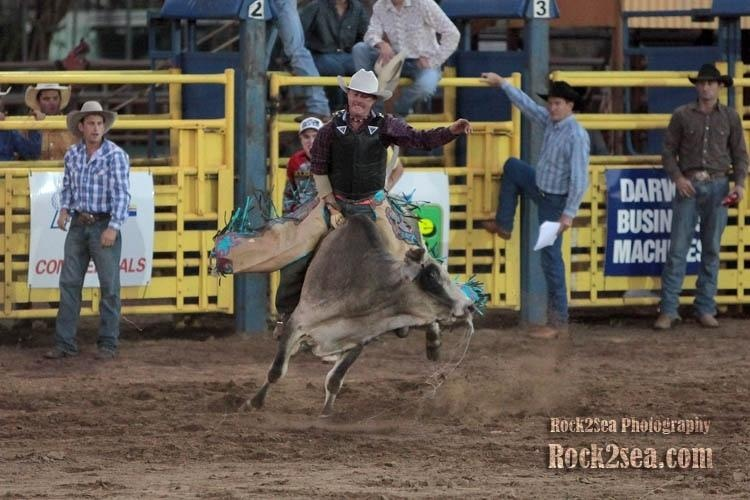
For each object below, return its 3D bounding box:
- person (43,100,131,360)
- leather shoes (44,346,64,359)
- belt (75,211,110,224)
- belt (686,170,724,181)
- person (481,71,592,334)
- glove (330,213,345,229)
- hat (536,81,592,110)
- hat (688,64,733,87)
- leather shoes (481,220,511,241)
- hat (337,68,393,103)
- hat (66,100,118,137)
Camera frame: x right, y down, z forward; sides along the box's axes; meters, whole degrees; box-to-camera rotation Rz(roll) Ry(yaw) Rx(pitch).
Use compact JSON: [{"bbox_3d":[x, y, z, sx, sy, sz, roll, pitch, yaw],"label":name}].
[{"bbox_3d":[-3.406,-0.270,21.041,0.954,3.021,0.327,-1,2,8],"label":"person"},{"bbox_3d":[-3.846,1.187,21.076,0.109,0.105,0.239,12,-6,22],"label":"leather shoes"},{"bbox_3d":[-3.348,-0.411,20.971,0.366,0.134,0.087,-1,2,4],"label":"belt"},{"bbox_3d":[4.231,-0.971,22.191,0.408,0.129,0.123,-1,2,6],"label":"belt"},{"bbox_3d":[2.118,-0.600,21.944,1.286,3.273,0.724,1,3,42],"label":"person"},{"bbox_3d":[-0.387,-0.362,19.470,0.139,0.143,0.170,-4,-23,13],"label":"glove"},{"bbox_3d":[2.367,-1.954,21.995,0.459,0.167,0.375,22,-14,-30],"label":"hat"},{"bbox_3d":[4.277,-2.208,22.059,0.538,0.263,0.380,-1,2,-2],"label":"hat"},{"bbox_3d":[1.566,-0.288,22.387,0.447,0.161,0.216,29,11,14],"label":"leather shoes"},{"bbox_3d":[-0.084,-1.865,19.667,0.569,0.344,1.040,-1,3,0],"label":"hat"},{"bbox_3d":[-3.399,-1.601,21.109,0.585,0.405,0.499,-2,2,-12],"label":"hat"}]
